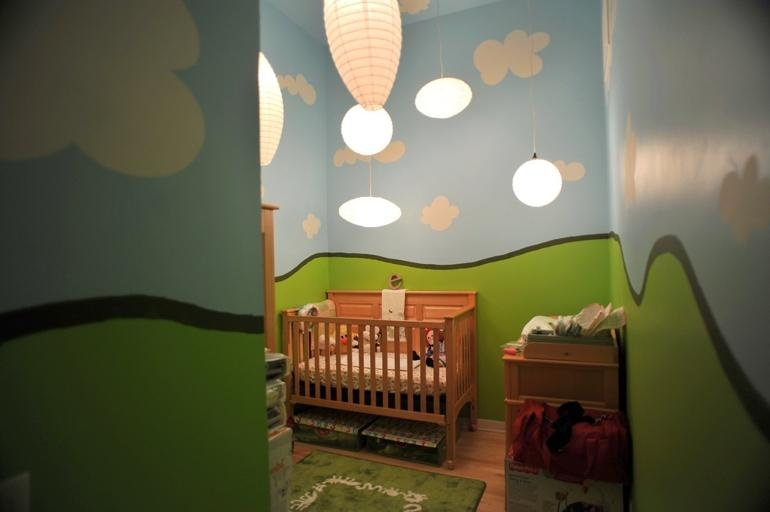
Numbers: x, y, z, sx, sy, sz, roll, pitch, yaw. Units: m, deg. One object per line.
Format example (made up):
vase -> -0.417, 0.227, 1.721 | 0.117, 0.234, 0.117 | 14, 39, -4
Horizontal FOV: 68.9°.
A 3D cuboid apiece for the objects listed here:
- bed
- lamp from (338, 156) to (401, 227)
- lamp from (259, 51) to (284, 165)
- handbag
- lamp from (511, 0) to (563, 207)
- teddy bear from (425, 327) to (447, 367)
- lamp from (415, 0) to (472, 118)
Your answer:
bed -> 0.044, 0.794, 4.240 | 1.421, 1.274, 0.982 | -1, -5, 18
lamp -> -0.109, -0.372, 4.531 | 0.334, 0.272, 0.422 | -2, -6, 40
lamp -> -0.548, -0.687, 2.708 | 0.103, 0.531, 0.303 | 3, -4, -10
handbag -> 0.896, 0.906, 2.690 | 0.358, 0.230, 0.496 | -1, -8, 18
lamp -> 1.074, -1.110, 3.878 | 0.311, 1.595, 0.608 | 1, -4, 18
teddy bear -> 0.355, 0.618, 3.960 | 0.184, 0.277, 0.085 | 0, 5, 21
lamp -> 0.454, -1.428, 4.107 | 0.429, 1.005, 0.823 | 2, -4, 5
